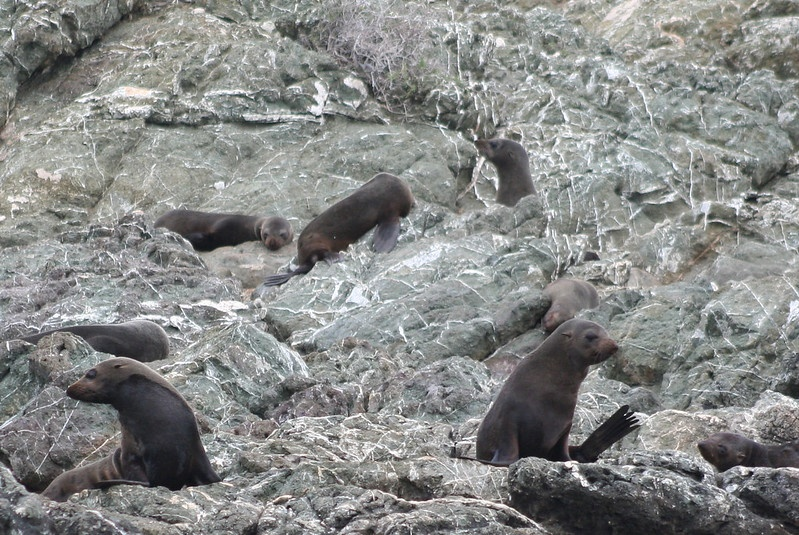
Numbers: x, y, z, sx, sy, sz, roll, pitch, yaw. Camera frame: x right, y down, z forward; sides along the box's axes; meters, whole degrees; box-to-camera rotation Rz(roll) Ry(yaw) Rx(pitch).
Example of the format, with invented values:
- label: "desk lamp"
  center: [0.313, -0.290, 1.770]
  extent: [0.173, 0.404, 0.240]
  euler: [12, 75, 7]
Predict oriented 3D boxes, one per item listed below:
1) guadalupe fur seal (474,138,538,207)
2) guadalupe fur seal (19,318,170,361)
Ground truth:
- label: "guadalupe fur seal"
  center: [1.723, -1.540, 22.748]
  extent: [1.033, 1.076, 0.462]
  euler: [9, -2, 4]
- label: "guadalupe fur seal"
  center: [-3.646, 0.929, 18.190]
  extent: [1.100, 0.302, 0.787]
  euler: [8, 1, -31]
